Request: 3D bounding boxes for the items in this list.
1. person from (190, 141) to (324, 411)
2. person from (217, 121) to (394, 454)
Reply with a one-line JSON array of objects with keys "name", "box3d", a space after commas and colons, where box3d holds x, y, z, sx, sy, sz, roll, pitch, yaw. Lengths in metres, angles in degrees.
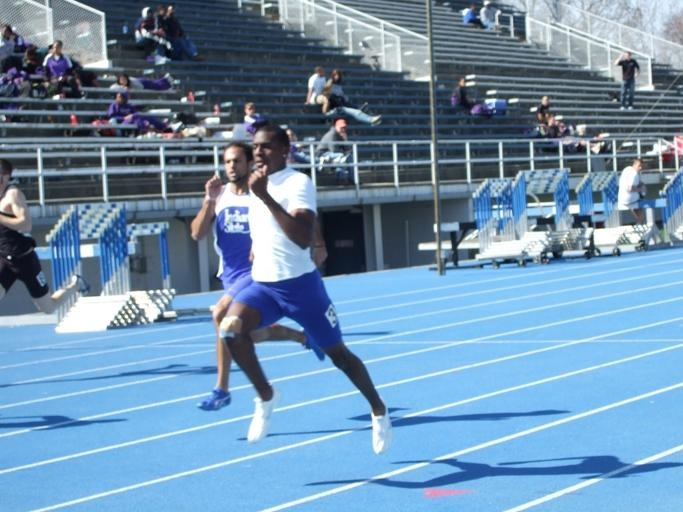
[{"name": "person", "box3d": [-0.934, -0.071, 8.088, 0.810, 2.602, 1.016, 0, 2, 22]}, {"name": "person", "box3d": [-0.330, 0.279, 6.944, 1.154, 2.512, 0.579, -2, 6, 0]}]
